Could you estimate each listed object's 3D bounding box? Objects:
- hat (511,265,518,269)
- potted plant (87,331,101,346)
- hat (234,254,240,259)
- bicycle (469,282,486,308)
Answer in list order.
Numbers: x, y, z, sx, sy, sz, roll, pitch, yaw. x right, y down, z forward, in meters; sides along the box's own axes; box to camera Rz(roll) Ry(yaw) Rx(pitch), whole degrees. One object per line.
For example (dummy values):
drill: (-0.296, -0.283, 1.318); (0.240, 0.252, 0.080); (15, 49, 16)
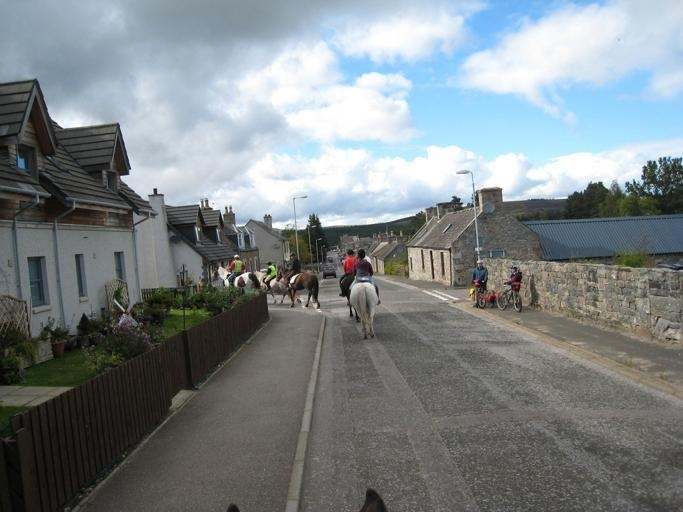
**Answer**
hat: (7.295, 0.418, 19.780); (0.202, 0.118, 0.301); (-2, 3, 20)
potted plant: (-8.096, 2.676, 15.321); (0.282, 0.200, 0.375); (-6, -24, -13)
hat: (-6.756, -0.007, 30.081); (0.473, 0.254, 0.679); (-1, 3, -12)
bicycle: (6.471, 1.727, 22.158); (0.605, 1.303, 1.929); (-1, 6, 16)
